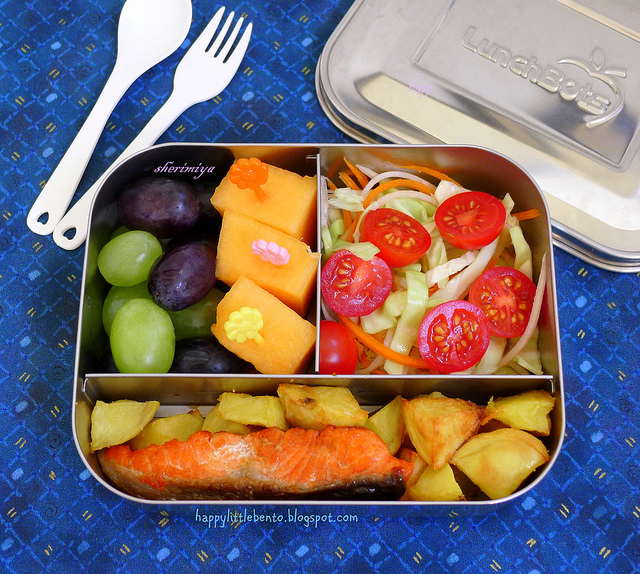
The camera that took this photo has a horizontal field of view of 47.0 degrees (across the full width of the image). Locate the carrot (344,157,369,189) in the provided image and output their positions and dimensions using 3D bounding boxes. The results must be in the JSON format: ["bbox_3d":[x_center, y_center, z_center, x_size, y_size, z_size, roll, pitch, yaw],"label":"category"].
[{"bbox_3d":[0.105,-0.328,2.112,0.021,0.021,0.083,-34,89,-41],"label":"carrot"}]

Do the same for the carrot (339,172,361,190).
[{"bbox_3d":[0.088,-0.308,2.133,0.056,0.014,0.015,50,41,7],"label":"carrot"}]

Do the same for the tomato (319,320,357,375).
[{"bbox_3d":[0.031,0.169,1.988,0.132,0.144,0.125,-11,80,-4],"label":"tomato"}]

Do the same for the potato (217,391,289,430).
[{"bbox_3d":[-0.175,0.314,1.864,0.150,0.046,0.098,7,63,4],"label":"potato"}]

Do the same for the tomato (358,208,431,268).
[{"bbox_3d":[0.212,-0.136,1.999,0.143,0.103,0.170,14,44,-10],"label":"tomato"}]

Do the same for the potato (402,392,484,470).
[{"bbox_3d":[0.311,0.355,1.891,0.091,0.292,0.196,43,61,-26],"label":"potato"}]

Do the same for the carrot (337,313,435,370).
[{"bbox_3d":[0.156,0.171,1.961,0.153,0.195,0.042,44,100,26],"label":"carrot"}]

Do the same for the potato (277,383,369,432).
[{"bbox_3d":[0.014,0.289,1.810,0.184,0.069,0.131,2,75,-11],"label":"potato"}]

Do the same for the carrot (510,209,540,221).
[{"bbox_3d":[0.574,-0.197,2.034,0.023,0.086,0.022,42,82,-11],"label":"carrot"}]

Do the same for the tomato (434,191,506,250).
[{"bbox_3d":[0.434,-0.175,2.071,0.185,0.191,0.135,8,94,-39],"label":"tomato"}]

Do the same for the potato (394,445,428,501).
[{"bbox_3d":[0.234,0.479,1.886,0.029,0.097,0.114,17,83,-38],"label":"potato"}]

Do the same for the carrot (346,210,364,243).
[{"bbox_3d":[0.100,-0.167,2.083,0.013,0.068,0.075,14,80,7],"label":"carrot"}]

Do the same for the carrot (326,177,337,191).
[{"bbox_3d":[0.033,-0.295,2.138,0.016,0.013,0.054,-30,97,-13],"label":"carrot"}]
